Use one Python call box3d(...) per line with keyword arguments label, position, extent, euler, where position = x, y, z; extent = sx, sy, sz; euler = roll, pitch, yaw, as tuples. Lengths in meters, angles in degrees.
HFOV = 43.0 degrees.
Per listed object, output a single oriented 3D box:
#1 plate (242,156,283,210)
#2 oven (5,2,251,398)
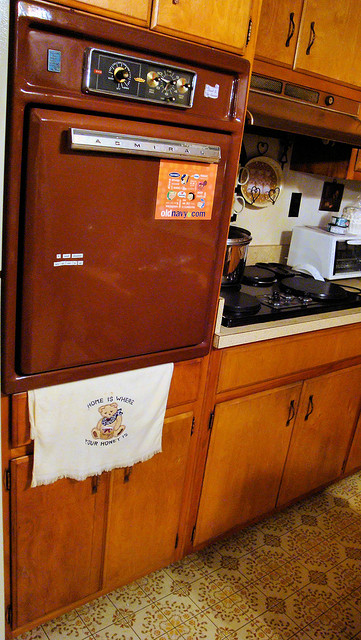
box3d(label="plate", position=(0.363, -0.629, 2.093), extent=(0.195, 0.227, 0.044), euler=(-11, 21, -40))
box3d(label="oven", position=(-0.080, -0.305, 1.338), extent=(0.640, 1.007, 0.655), euler=(-5, 19, -32))
